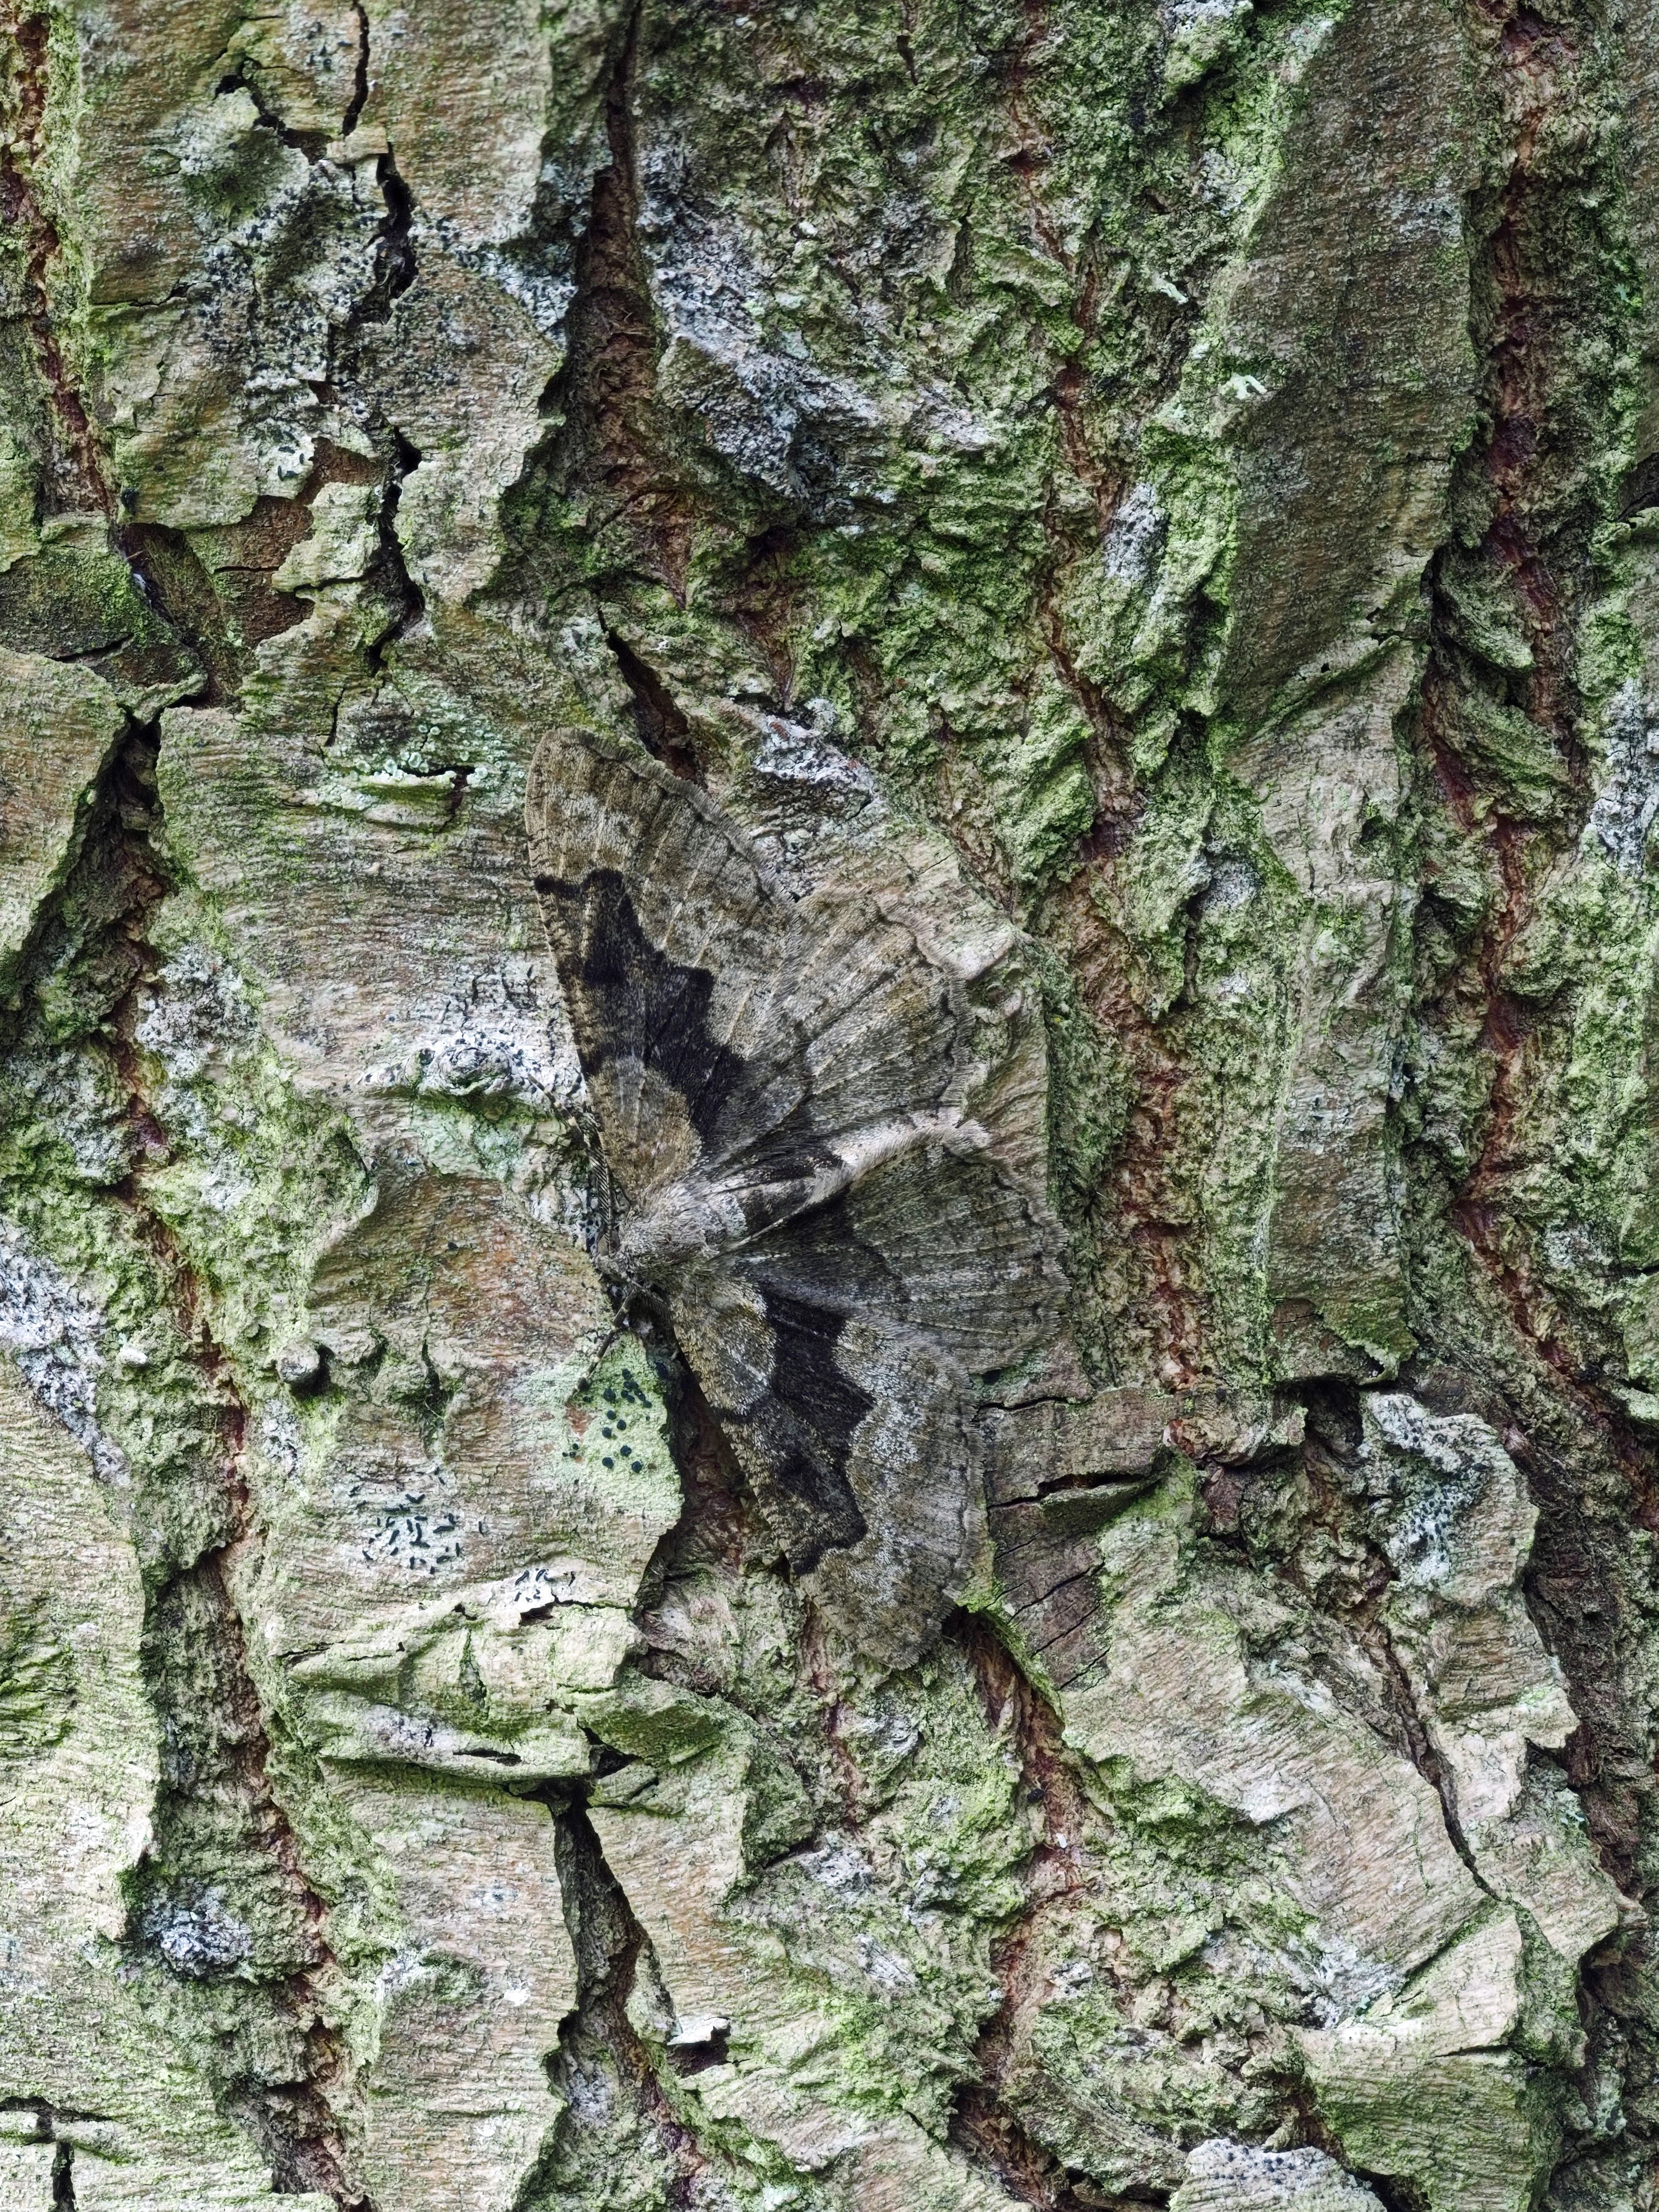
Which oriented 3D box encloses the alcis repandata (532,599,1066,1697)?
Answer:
[{"bbox_3d":[-0.009,0.092,4.260,0.573,0.475,0.178,23,26,5],"label":"alcis repandata"}]
